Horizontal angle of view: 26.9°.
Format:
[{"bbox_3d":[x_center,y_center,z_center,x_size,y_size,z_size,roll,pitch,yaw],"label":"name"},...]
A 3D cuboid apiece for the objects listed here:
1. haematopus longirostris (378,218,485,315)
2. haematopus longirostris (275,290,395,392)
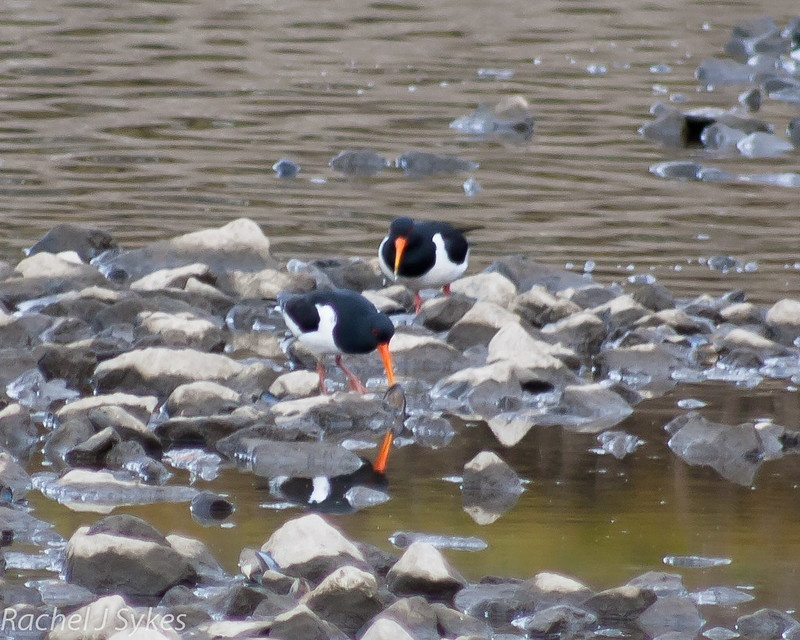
[{"bbox_3d":[0.105,-0.603,15.076,0.618,0.726,1.039,3,50,20],"label":"haematopus longirostris"},{"bbox_3d":[-0.502,0.190,13.860,0.607,0.861,0.847,-18,28,-31],"label":"haematopus longirostris"}]
